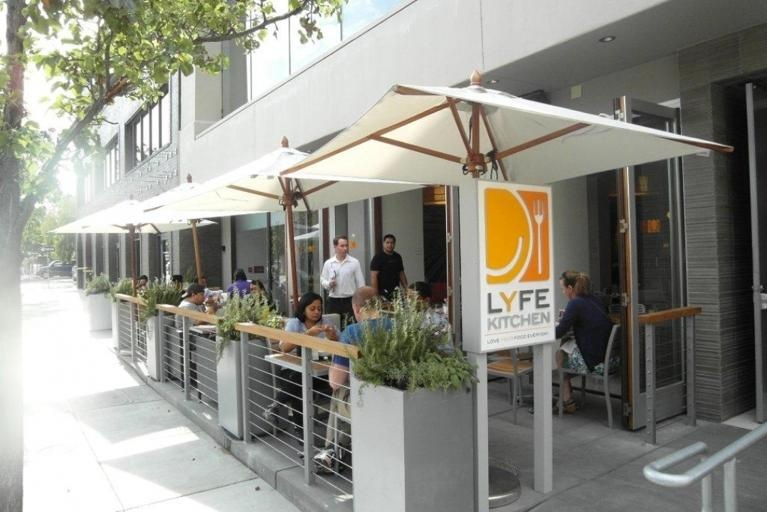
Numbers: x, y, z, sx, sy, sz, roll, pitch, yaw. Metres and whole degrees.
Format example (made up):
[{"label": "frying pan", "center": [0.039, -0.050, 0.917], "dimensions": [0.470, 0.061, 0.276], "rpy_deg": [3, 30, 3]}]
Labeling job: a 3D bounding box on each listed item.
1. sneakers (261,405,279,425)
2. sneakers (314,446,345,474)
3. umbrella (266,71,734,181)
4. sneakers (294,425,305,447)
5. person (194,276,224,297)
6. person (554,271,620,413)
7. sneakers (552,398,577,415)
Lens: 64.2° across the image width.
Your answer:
[{"label": "sneakers", "center": [-1.363, 1.903, 7.361], "dimensions": [0.190, 0.283, 0.087], "rpy_deg": [-15, 12, -30]}, {"label": "sneakers", "center": [-0.555, 2.107, 6.349], "dimensions": [0.325, 0.268, 0.246], "rpy_deg": [16, -16, -40]}, {"label": "umbrella", "center": [1.569, -1.479, 6.870], "dimensions": [2.278, 0.803, 2.269], "rpy_deg": [0, -1, -35]}, {"label": "sneakers", "center": [-0.983, 2.090, 7.113], "dimensions": [0.087, 0.095, 0.350], "rpy_deg": [-7, 4, -7]}, {"label": "person", "center": [-3.705, 0.623, 12.843], "dimensions": [0.698, 0.246, 0.445], "rpy_deg": [13, -3, -11]}, {"label": "person", "center": [2.550, 0.833, 7.729], "dimensions": [0.649, 1.208, 0.666], "rpy_deg": [0, 7, 20]}, {"label": "sneakers", "center": [2.337, 1.960, 7.907], "dimensions": [0.319, 0.134, 0.184], "rpy_deg": [0, 0, 15]}]
